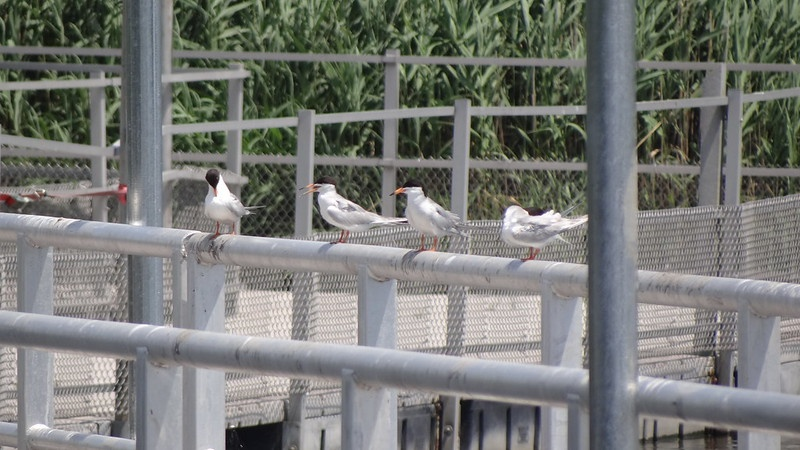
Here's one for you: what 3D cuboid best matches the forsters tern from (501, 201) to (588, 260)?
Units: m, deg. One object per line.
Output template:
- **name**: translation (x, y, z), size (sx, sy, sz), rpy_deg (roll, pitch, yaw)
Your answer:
- **forsters tern**: translation (1.621, 0.003, 23.849), size (1.004, 0.607, 0.594), rpy_deg (-8, 15, -8)
